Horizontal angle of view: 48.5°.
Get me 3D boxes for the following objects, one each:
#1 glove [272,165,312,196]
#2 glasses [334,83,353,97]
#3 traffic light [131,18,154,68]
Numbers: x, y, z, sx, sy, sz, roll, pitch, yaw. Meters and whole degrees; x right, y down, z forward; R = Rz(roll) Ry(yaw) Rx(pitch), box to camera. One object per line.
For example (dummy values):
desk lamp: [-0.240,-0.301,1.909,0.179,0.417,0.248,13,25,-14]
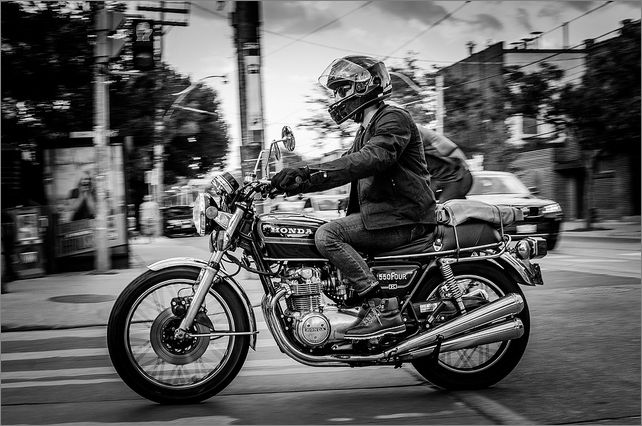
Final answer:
glove: [-0.273,-0.308,6.823,0.339,0.234,0.143,-13,50,-20]
glasses: [0.239,-1.237,7.187,0.183,0.048,0.102,-9,-13,9]
traffic light: [-3.768,-3.569,15.172,0.478,1.027,0.271,-4,10,-13]
